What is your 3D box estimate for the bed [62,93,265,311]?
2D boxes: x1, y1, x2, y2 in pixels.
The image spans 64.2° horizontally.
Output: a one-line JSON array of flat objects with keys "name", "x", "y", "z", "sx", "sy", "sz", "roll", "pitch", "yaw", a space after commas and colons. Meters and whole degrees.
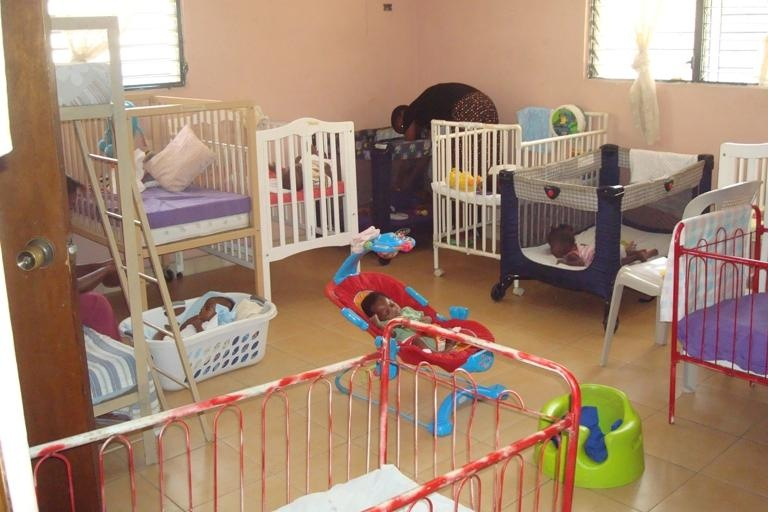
[{"name": "bed", "x": -1.454, "y": -0.497, "z": 4.193, "sx": 1.115, "sy": 1.287, "sz": 1.436, "roll": -17, "pitch": 26, "yaw": -38}]

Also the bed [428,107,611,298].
[{"name": "bed", "x": 1.219, "y": -0.587, "z": 5.057, "sx": 0.989, "sy": 1.550, "sz": 1.848, "roll": 12, "pitch": 19, "yaw": 38}]

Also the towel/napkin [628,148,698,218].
[{"name": "towel/napkin", "x": 1.892, "y": -0.499, "z": 4.141, "sx": 0.360, "sy": 0.367, "sz": 0.460, "roll": -23, "pitch": 31, "yaw": -35}]

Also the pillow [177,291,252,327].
[{"name": "pillow", "x": -0.940, "y": 0.260, "z": 3.470, "sx": 0.322, "sy": 0.110, "sz": 0.228, "roll": -16, "pitch": 23, "yaw": -36}]

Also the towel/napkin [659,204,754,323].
[{"name": "towel/napkin", "x": 1.555, "y": 0.049, "z": 2.924, "sx": 0.612, "sy": 0.467, "sz": 0.053, "roll": -16, "pitch": 23, "yaw": -36}]

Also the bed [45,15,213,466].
[{"name": "bed", "x": -1.190, "y": -0.101, "z": 2.862, "sx": 0.416, "sy": 1.880, "sz": 1.124, "roll": -10, "pitch": 19, "yaw": -21}]

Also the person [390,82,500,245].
[{"name": "person", "x": 0.552, "y": -1.064, "z": 5.571, "sx": 1.032, "sy": 1.000, "sz": 0.640, "roll": 5, "pitch": 9, "yaw": 7}]

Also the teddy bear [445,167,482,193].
[{"name": "teddy bear", "x": 0.596, "y": -0.543, "z": 4.517, "sx": 0.217, "sy": 0.135, "sz": 0.213, "roll": -11, "pitch": 22, "yaw": -39}]

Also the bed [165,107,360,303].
[{"name": "bed", "x": -0.807, "y": -0.507, "z": 4.465, "sx": 0.940, "sy": 1.244, "sz": 1.530, "roll": -14, "pitch": 24, "yaw": -34}]
